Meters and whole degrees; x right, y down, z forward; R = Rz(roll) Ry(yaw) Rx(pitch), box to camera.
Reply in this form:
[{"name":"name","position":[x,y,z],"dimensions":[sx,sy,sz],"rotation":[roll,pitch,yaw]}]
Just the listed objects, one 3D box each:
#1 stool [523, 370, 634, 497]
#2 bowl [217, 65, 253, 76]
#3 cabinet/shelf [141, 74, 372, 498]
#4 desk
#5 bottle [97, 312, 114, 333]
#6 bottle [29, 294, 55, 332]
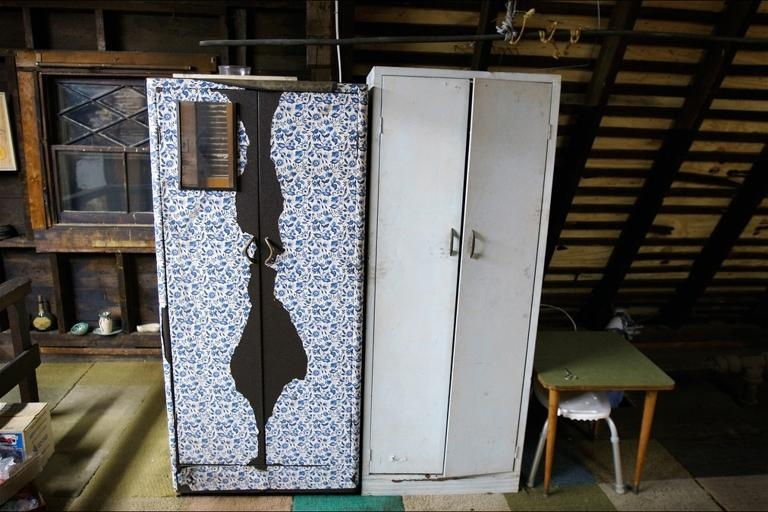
[{"name":"stool","position":[1.474,1.187,5.245],"dimensions":[0.737,0.913,0.659],"rotation":[3,13,6]},{"name":"bowl","position":[-1.013,-1.277,4.782],"dimensions":[0.190,0.078,0.278],"rotation":[2,12,1]},{"name":"cabinet/shelf","position":[-0.861,0.271,4.826],"dimensions":[1.464,2.917,0.360],"rotation":[1,14,-2]},{"name":"desk","position":[1.554,1.153,5.471],"dimensions":[0.970,0.797,1.209],"rotation":[1,13,-1]},{"name":"bottle","position":[-2.476,0.588,6.220],"dimensions":[0.129,0.193,0.174],"rotation":[-4,14,-22]},{"name":"bottle","position":[-3.028,0.506,6.195],"dimensions":[0.157,0.331,0.152],"rotation":[2,14,0]}]
